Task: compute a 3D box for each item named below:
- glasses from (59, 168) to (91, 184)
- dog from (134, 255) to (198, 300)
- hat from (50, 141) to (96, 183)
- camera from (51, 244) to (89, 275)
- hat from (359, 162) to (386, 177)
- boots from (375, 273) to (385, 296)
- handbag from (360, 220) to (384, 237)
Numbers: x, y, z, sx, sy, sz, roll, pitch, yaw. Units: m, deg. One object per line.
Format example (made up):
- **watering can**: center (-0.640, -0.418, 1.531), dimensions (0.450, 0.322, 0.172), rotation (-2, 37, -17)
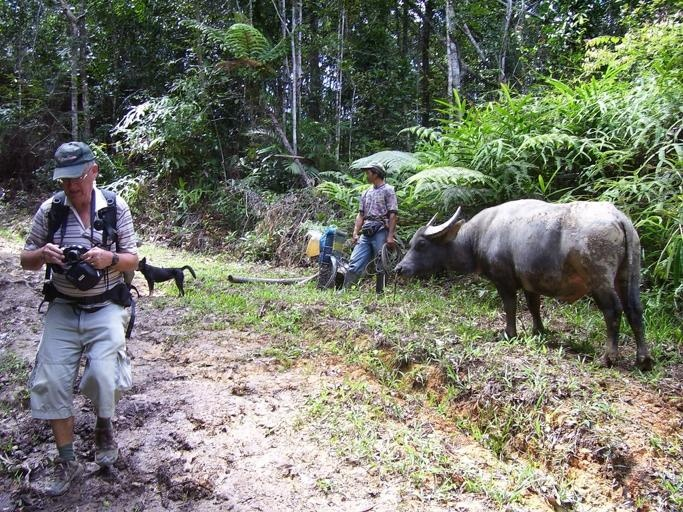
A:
- **glasses**: center (-2.326, -0.712, 5.177), dimensions (0.149, 0.059, 0.207), rotation (5, 17, 12)
- **dog**: center (-2.905, 0.280, 9.576), dimensions (0.738, 0.717, 1.019), rotation (-6, 13, -19)
- **hat**: center (-2.398, -0.837, 5.179), dimensions (0.264, 0.233, 0.398), rotation (2, 26, 6)
- **camera**: center (-2.437, 0.028, 5.169), dimensions (0.335, 0.241, 0.165), rotation (-1, 12, 3)
- **hat**: center (0.516, -1.365, 9.153), dimensions (0.317, 0.172, 0.203), rotation (16, 4, -8)
- **boots**: center (0.616, 0.418, 9.121), dimensions (0.143, 0.330, 0.167), rotation (0, 12, 8)
- **handbag**: center (0.483, -0.430, 9.151), dimensions (0.274, 0.220, 0.148), rotation (6, -21, 10)
